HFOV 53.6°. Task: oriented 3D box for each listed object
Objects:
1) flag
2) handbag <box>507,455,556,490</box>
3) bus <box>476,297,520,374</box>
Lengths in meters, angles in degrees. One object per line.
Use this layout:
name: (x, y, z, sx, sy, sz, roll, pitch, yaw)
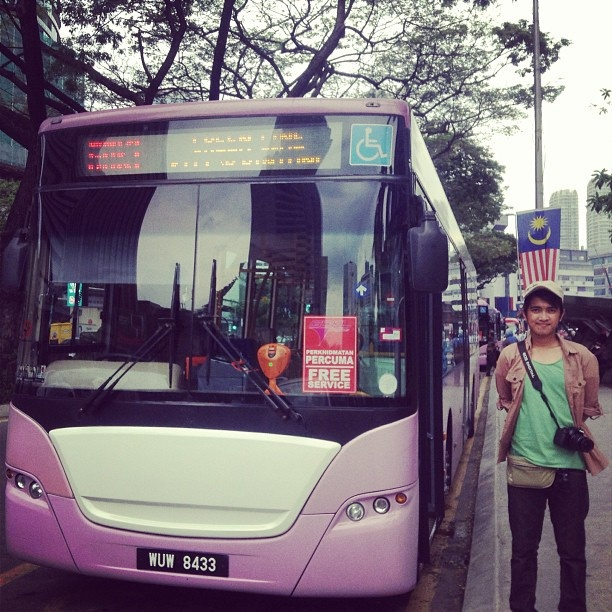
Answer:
flag: (4.212, -1.096, 11.043, 0.802, 1.359, 0.626, -2, -5, 38)
handbag: (1.185, 0.865, 3.195, 0.162, 0.121, 0.143, 3, -2, -13)
bus: (8.433, 0.982, 26.859, 2.032, 3.119, 9.092, -2, -9, 14)
